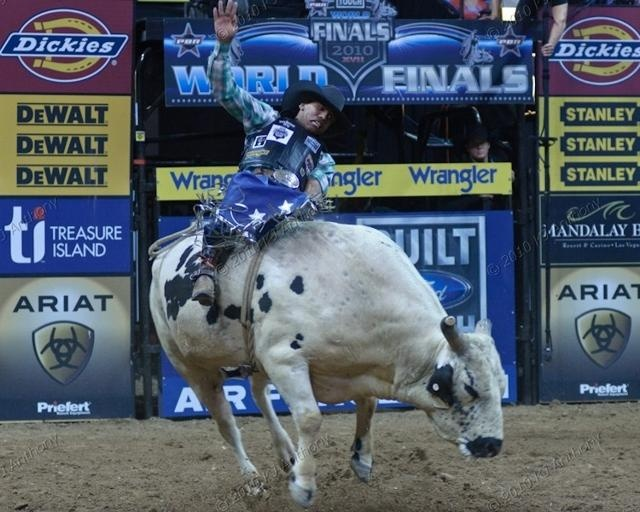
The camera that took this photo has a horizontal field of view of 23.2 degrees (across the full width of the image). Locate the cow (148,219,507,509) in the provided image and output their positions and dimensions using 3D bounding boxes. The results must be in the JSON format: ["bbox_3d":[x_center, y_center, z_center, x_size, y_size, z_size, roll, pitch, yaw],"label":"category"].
[{"bbox_3d":[0.028,1.083,15.301,3.579,2.818,1.264,7,15,31],"label":"cow"}]

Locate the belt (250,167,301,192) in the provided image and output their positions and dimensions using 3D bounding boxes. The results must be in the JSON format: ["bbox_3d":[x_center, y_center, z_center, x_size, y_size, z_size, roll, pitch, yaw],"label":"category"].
[{"bbox_3d":[-0.421,-0.789,15.332,0.299,0.151,0.243,22,-1,2],"label":"belt"}]
